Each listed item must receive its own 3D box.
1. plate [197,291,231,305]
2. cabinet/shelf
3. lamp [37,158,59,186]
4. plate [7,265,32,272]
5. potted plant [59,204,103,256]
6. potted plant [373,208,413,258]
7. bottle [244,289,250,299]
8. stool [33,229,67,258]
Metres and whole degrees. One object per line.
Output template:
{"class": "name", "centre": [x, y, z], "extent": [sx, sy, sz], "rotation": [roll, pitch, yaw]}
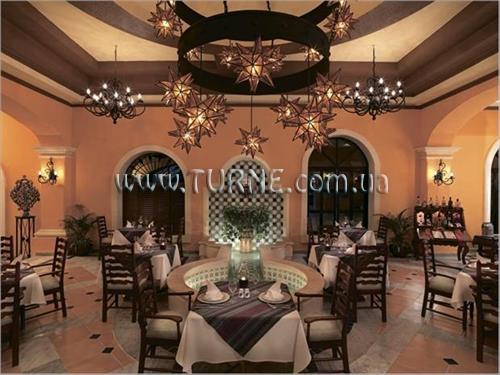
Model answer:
{"class": "plate", "centre": [-0.639, 1.916, 6.555], "extent": [0.565, 0.143, 0.300], "rotation": [-2, -5, -7]}
{"class": "cabinet/shelf", "centre": [5.712, 1.422, 11.442], "extent": [1.452, 1.663, 1.300], "rotation": [0, 0, 9]}
{"class": "lamp", "centre": [-6.374, -0.472, 11.959], "extent": [0.779, 1.064, 0.283], "rotation": [3, 6, -10]}
{"class": "plate", "centre": [-4.411, 1.543, 7.194], "extent": [0.253, 0.032, 0.285], "rotation": [3, -3, -12]}
{"class": "potted plant", "centre": [-5.386, 1.347, 12.198], "extent": [1.020, 1.534, 1.020], "rotation": [2, 0, 23]}
{"class": "potted plant", "centre": [4.499, 1.458, 12.264], "extent": [1.552, 1.657, 1.280], "rotation": [0, -3, -1]}
{"class": "bottle", "centre": [-0.069, 1.860, 6.658], "extent": [0.117, 0.224, 0.132], "rotation": [-1, -2, -1]}
{"class": "stool", "centre": [-6.384, 1.844, 12.249], "extent": [0.902, 1.058, 1.124], "rotation": [-1, 0, -2]}
